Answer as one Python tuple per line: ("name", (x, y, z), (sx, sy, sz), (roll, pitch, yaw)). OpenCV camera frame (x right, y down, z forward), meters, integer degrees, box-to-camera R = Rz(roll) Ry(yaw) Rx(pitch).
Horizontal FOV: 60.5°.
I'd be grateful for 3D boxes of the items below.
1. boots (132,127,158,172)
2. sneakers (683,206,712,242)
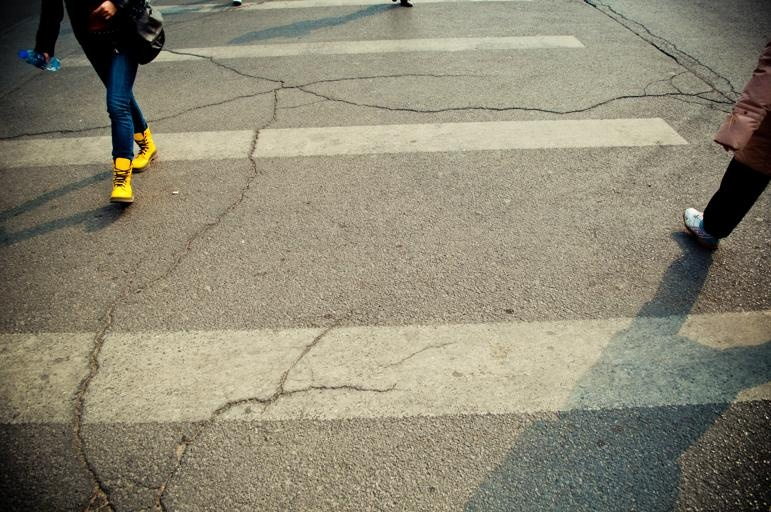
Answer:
("boots", (-2.683, -1.184, 7.242), (0.210, 0.373, 0.478), (4, 35, 4))
("sneakers", (2.830, -0.295, 6.079), (0.121, 0.150, 0.347), (-36, 60, 17))
